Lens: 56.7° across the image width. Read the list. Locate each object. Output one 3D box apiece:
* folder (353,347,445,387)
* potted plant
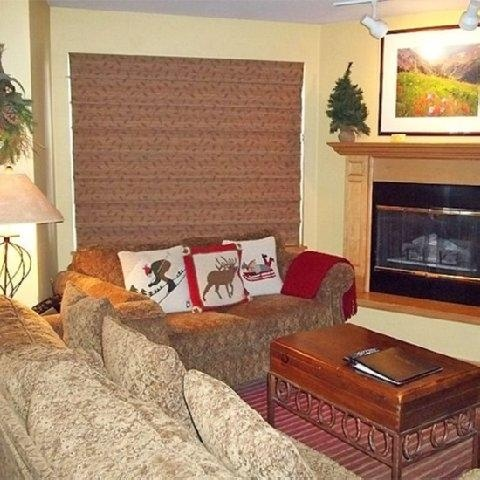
[{"bbox_3d":[0.676,0.549,1.986,0.326,0.048,0.312,-8,9,-34],"label":"folder"},{"bbox_3d":[1.020,-1.318,4.205,0.402,0.780,0.365,-1,9,13],"label":"potted plant"}]
